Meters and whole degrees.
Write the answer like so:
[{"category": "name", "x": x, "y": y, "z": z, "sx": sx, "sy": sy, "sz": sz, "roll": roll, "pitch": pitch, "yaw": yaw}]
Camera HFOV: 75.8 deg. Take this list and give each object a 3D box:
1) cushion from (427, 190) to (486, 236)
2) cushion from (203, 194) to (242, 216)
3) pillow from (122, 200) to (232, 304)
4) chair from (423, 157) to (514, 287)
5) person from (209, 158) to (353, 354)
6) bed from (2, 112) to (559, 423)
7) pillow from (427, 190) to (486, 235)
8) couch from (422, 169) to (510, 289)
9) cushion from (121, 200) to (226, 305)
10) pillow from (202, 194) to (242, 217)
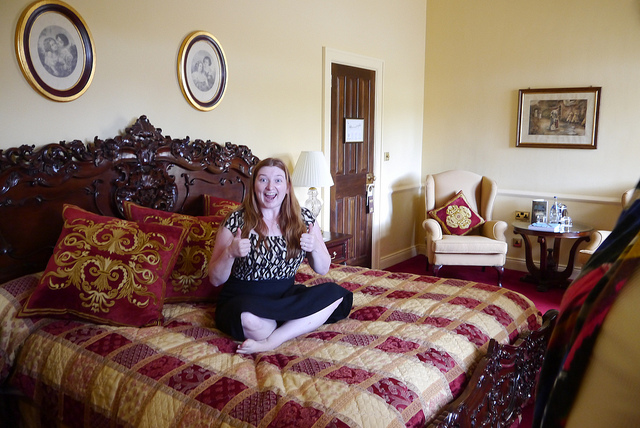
[{"category": "cushion", "x": 1.651, "y": 0.015, "z": 4.834, "sx": 0.496, "sy": 0.496, "sz": 0.161, "roll": 46, "pitch": -4, "yaw": 5}, {"category": "cushion", "x": -0.793, "y": -0.061, "z": 3.171, "sx": 0.188, "sy": 0.061, "sz": 0.178, "roll": 13, "pitch": 17, "yaw": 9}, {"category": "pillow", "x": -0.844, "y": 0.280, "z": 2.617, "sx": 0.603, "sy": 0.638, "sz": 0.192, "roll": 7, "pitch": -17, "yaw": 7}, {"category": "chair", "x": 1.697, "y": 0.138, "z": 4.997, "sx": 0.912, "sy": 1.372, "sz": 1.130, "roll": 1, "pitch": 1, "yaw": 2}, {"category": "person", "x": -0.288, "y": 0.215, "z": 2.367, "sx": 0.759, "sy": 1.052, "sz": 0.637, "roll": 5, "pitch": -10, "yaw": -43}, {"category": "bed", "x": -0.242, "y": 0.265, "z": 2.724, "sx": 2.047, "sy": 1.329, "sz": 2.289, "roll": 4, "pitch": 11, "yaw": 24}, {"category": "pillow", "x": 1.636, "y": 0.011, "z": 4.866, "sx": 0.492, "sy": 0.495, "sz": 0.160, "roll": 46, "pitch": -4, "yaw": 7}, {"category": "couch", "x": 1.737, "y": 0.129, "z": 5.048, "sx": 0.871, "sy": 1.353, "sz": 1.049, "roll": 1, "pitch": 3, "yaw": 9}, {"category": "cushion", "x": -0.837, "y": 0.287, "z": 2.615, "sx": 0.592, "sy": 0.645, "sz": 0.189, "roll": 9, "pitch": -23, "yaw": -2}, {"category": "pillow", "x": -0.789, "y": -0.067, "z": 3.180, "sx": 0.178, "sy": 0.065, "sz": 0.207, "roll": 19, "pitch": 12, "yaw": 21}]
